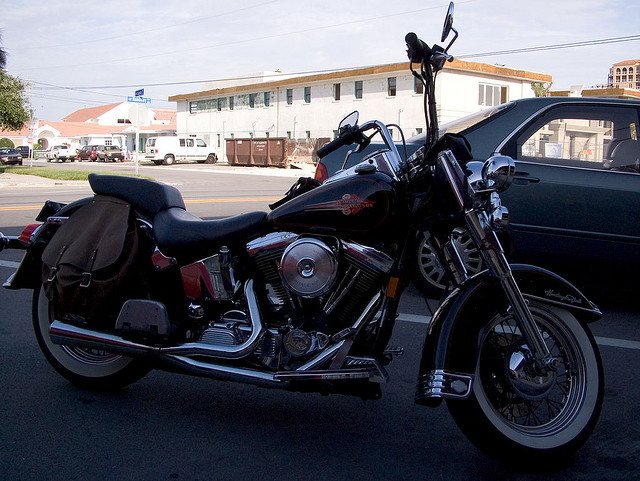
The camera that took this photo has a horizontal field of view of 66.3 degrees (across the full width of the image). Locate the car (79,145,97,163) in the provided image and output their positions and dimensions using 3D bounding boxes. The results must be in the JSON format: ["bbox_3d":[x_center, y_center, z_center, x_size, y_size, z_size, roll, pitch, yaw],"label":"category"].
[{"bbox_3d":[-24.860,-9.433,53.066,2.175,1.184,1.328,8,11,22],"label":"car"}]

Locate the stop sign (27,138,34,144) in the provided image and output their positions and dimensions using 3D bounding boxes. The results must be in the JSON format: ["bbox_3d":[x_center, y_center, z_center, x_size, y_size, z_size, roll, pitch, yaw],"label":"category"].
[{"bbox_3d":[-21.066,-7.242,35.573,0.374,0.376,0.089,2,8,-2],"label":"stop sign"}]

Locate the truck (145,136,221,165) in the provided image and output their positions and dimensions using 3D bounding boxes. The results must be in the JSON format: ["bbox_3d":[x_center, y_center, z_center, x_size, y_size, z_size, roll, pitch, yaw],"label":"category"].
[{"bbox_3d":[-12.924,-8.226,45.636,5.854,2.174,3.022,-10,15,-38],"label":"truck"}]
